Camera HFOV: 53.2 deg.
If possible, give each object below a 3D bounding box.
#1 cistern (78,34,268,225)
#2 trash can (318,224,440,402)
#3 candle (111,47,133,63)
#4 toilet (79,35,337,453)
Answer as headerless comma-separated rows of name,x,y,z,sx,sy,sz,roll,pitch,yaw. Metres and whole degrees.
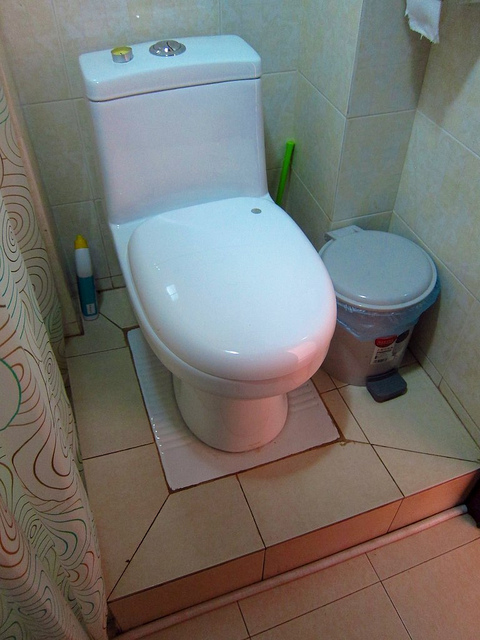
cistern,-0.140,-0.484,1.059,0.367,0.389,0.246,-17,68,-16
trash can,0.269,-0.039,1.209,0.271,0.363,0.387,-17,51,-11
candle,-0.224,-0.504,0.906,0.029,0.014,0.033,-27,66,-13
toilet,-0.059,-0.092,0.997,0.355,0.795,0.690,-12,35,-21
